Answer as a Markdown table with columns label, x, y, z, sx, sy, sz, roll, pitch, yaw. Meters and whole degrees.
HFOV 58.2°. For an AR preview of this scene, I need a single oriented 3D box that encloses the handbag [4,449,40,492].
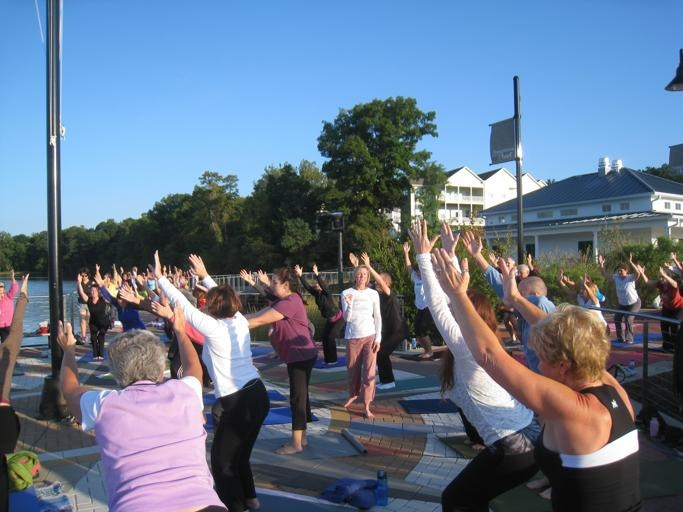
| label | x | y | z | sx | sy | sz | roll | pitch | yaw |
| --- | --- | --- | --- | --- | --- | --- | --- | --- | --- |
| handbag | -3.232 | 2.168 | 6.218 | 0.281 | 0.359 | 0.565 | -3 | 2 | -31 |

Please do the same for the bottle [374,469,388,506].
| label | x | y | z | sx | sy | sz | roll | pitch | yaw |
| --- | --- | --- | --- | --- | --- | --- | --- | --- | --- |
| bottle | 0.389 | 2.243 | 5.997 | 0.109 | 0.313 | 0.256 | -1 | 2 | 4 |
